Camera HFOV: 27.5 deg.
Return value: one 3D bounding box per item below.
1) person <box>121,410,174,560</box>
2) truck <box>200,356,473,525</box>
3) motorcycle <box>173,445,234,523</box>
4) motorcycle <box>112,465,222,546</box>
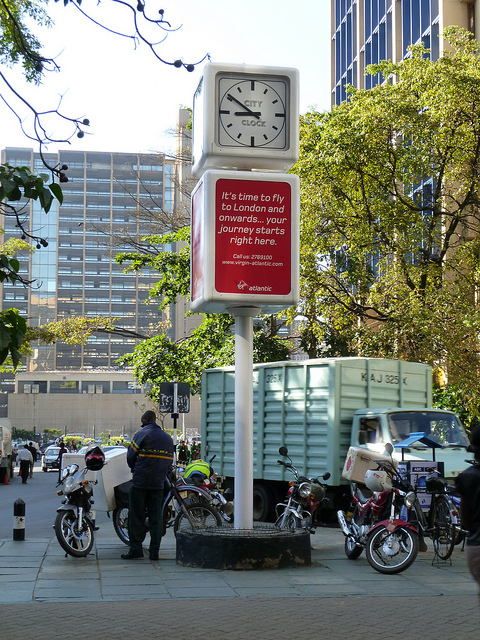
[{"bbox_3d":[-1.072,1.941,11.380,0.522,1.703,0.544,2,-5,-5],"label":"person"},{"bbox_3d":[1.697,1.714,15.727,2.247,2.330,4.922,2,-5,-34],"label":"truck"},{"bbox_3d":[-0.494,2.361,12.998,0.990,0.588,0.586,2,-4,7],"label":"motorcycle"},{"bbox_3d":[-0.781,2.313,12.387,1.798,0.962,0.733,-7,-7,22],"label":"motorcycle"}]
